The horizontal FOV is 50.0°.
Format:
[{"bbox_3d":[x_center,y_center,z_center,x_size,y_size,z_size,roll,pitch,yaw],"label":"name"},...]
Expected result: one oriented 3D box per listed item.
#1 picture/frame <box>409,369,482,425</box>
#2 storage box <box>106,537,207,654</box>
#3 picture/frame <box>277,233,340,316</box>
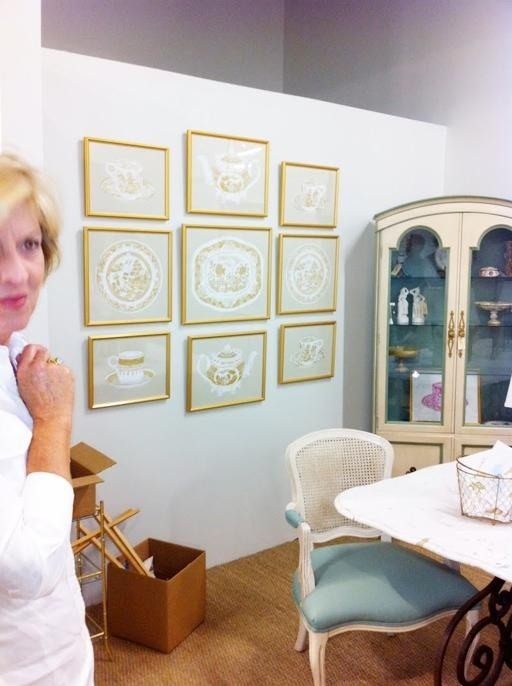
[{"bbox_3d":[1.064,0.305,3.023,0.328,0.259,0.032,0,-2,18],"label":"picture/frame"},{"bbox_3d":[-0.401,1.017,2.250,0.341,0.330,0.353,2,6,22],"label":"storage box"},{"bbox_3d":[0.266,-0.377,2.935,0.449,0.403,0.029,-10,18,-37],"label":"picture/frame"}]
